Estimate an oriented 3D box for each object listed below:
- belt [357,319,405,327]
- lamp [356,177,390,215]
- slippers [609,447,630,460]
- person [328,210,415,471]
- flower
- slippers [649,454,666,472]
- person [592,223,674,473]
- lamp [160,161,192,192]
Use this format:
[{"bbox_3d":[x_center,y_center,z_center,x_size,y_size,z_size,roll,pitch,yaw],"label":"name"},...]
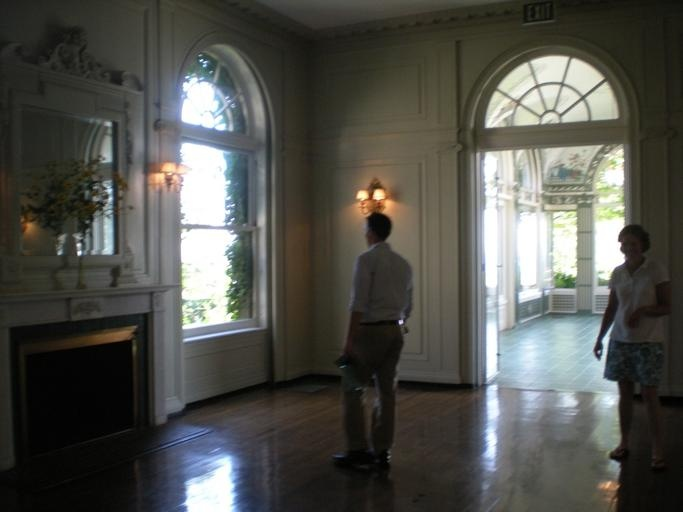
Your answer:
[{"bbox_3d":[0.317,0.507,4.227,0.316,0.056,0.072,-1,2,-22],"label":"belt"},{"bbox_3d":[0.378,-0.759,7.012,0.434,0.465,0.230,0,2,12],"label":"lamp"},{"bbox_3d":[2.205,1.562,4.417,0.159,0.066,0.075,-1,-2,-28],"label":"slippers"},{"bbox_3d":[0.251,0.769,4.247,0.592,1.746,0.315,-1,2,-1],"label":"person"},{"bbox_3d":[-2.493,-0.286,5.222,0.988,1.323,1.139,0,2,23],"label":"flower"},{"bbox_3d":[2.378,1.554,4.166,0.101,0.092,0.098,0,2,17],"label":"slippers"},{"bbox_3d":[2.285,0.674,4.382,0.532,1.851,0.391,1,3,40],"label":"person"},{"bbox_3d":[-1.630,-0.804,5.587,0.333,0.265,0.265,0,9,-3],"label":"lamp"}]
